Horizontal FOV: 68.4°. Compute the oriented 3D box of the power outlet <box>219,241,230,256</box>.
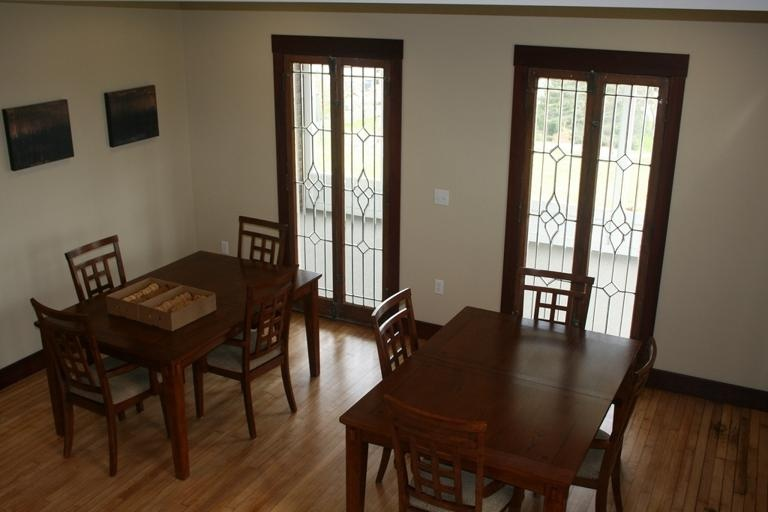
[{"bbox_3d":[-1.832,-0.094,6.502,0.154,0.211,0.022,12,25,26],"label":"power outlet"}]

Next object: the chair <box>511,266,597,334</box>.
[{"bbox_3d":[1.471,0.372,4.831,0.353,0.649,0.375,12,26,26],"label":"chair"}]

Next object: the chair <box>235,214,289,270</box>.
[{"bbox_3d":[-1.232,-0.155,5.756,0.401,0.720,0.421,8,18,20],"label":"chair"}]

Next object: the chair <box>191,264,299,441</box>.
[{"bbox_3d":[-1.184,0.837,4.745,0.771,1.510,0.798,13,24,20],"label":"chair"}]

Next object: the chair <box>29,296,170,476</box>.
[{"bbox_3d":[-2.179,1.041,4.398,0.783,1.410,0.830,14,24,25],"label":"chair"}]

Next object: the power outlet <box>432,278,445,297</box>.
[{"bbox_3d":[0.563,0.317,5.791,0.144,0.209,0.021,12,30,24],"label":"power outlet"}]
